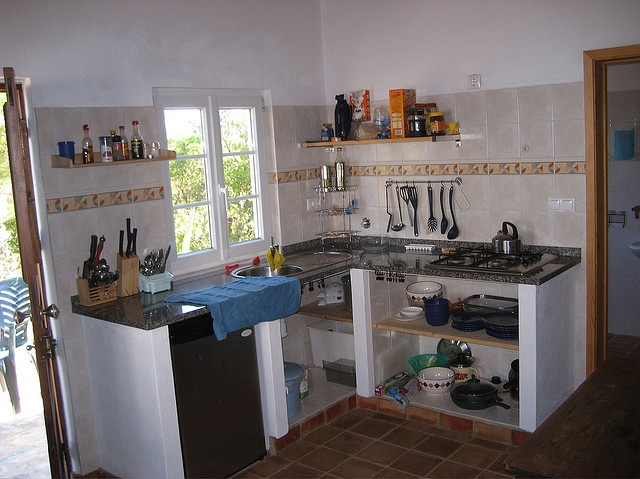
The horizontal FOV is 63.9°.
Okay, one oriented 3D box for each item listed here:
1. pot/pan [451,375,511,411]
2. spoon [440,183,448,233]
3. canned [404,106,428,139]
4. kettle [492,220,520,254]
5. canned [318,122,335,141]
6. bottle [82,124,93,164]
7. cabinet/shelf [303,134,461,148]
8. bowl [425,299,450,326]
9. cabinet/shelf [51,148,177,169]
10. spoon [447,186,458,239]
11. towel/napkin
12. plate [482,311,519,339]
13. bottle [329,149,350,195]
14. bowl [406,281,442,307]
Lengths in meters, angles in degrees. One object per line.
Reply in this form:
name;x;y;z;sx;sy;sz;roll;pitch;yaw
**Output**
pot/pan;1.173;1.137;3.791;0.414;0.143;0.312;3;16;14
spoon;1.038;-0.258;4.269;0.058;0.395;0.065;-7;7;-39
canned;0.762;-0.924;4.052;0.152;0.221;0.146;2;15;11
kettle;1.399;-0.022;3.855;0.208;0.233;0.226;-6;6;-11
canned;0.052;-0.956;4.532;0.142;0.203;0.148;-5;10;-39
bottle;-1.487;-0.607;3.236;0.071;0.231;0.275;-8;17;-23
cabinet/shelf;0.490;-0.833;4.362;1.380;0.154;0.407;7;17;26
bowl;0.887;0.541;3.923;0.190;0.161;0.178;-11;8;1
cabinet/shelf;-1.339;-0.522;3.352;0.749;0.116;0.256;-15;21;-40
spoon;1.085;-0.225;4.232;0.071;0.454;0.118;-10;17;-29
towel/napkin;-0.557;0.362;3.382;0.412;0.177;0.589;8;14;41
plate;1.277;0.588;3.653;0.239;0.148;0.454;4;16;19
bottle;0.170;-0.624;4.673;0.158;0.404;0.252;0;15;4
bowl;0.831;0.480;4.129;0.242;0.109;0.260;-9;19;3
